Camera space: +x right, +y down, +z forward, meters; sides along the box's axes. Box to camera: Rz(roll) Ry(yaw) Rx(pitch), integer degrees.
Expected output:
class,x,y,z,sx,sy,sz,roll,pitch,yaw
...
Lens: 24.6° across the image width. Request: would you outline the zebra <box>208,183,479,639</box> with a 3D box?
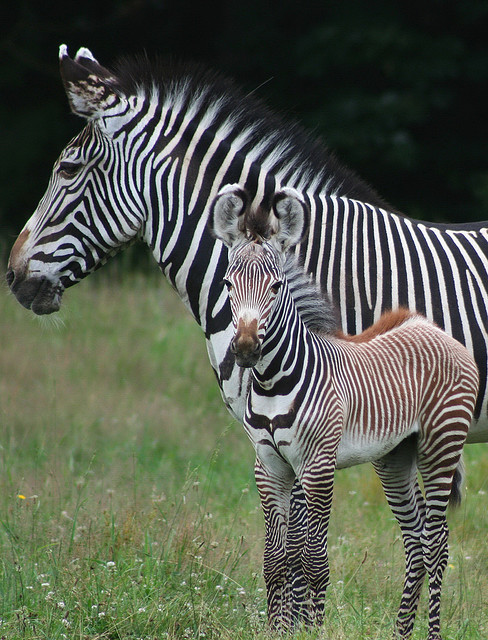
class,x,y,z,sx,sy,sz,roll,pitch,yaw
zebra,0.421,0.394,4.700,1.052,1.781,0.790,-4,23,-14
